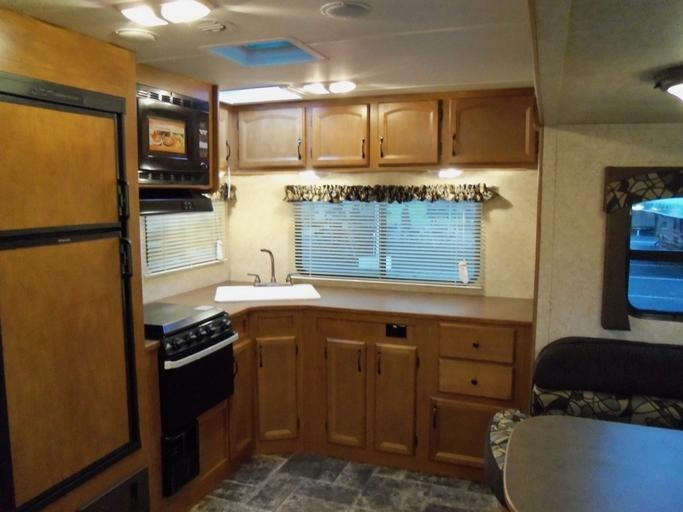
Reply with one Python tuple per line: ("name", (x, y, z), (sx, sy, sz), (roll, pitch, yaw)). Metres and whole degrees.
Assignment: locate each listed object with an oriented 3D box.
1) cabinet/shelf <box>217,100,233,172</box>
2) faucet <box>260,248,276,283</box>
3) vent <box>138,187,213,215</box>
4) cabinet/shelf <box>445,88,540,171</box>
("cabinet/shelf", (-0.901, -0.892, 4.020), (0.093, 0.487, 0.190), (-2, 7, 7))
("faucet", (-0.596, 0.080, 4.296), (0.120, 0.290, 0.339), (-4, 7, -10))
("vent", (-1.036, -0.337, 3.246), (0.106, 0.149, 0.558), (1, 8, 33))
("cabinet/shelf", (1.009, -0.815, 3.688), (0.797, 0.677, 0.440), (2, 6, 19))
